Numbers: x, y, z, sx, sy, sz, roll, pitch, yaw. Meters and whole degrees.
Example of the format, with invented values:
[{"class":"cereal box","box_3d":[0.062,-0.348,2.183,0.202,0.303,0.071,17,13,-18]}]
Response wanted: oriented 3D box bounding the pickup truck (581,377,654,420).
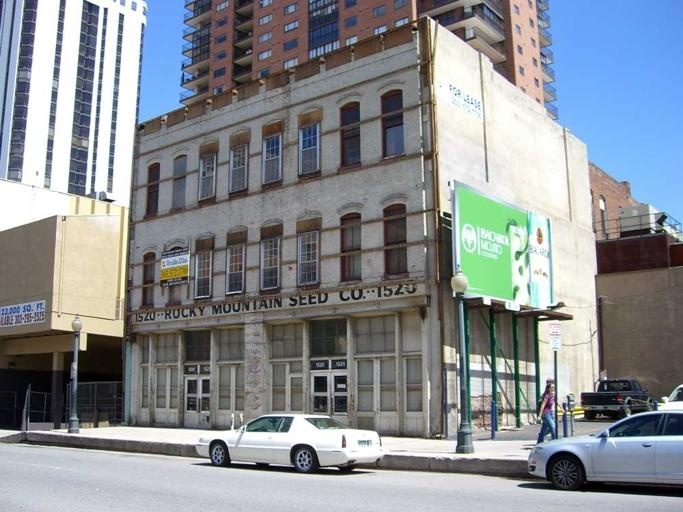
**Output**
[{"class":"pickup truck","box_3d":[13.388,6.803,40.993,1.640,1.237,3.074,-8,-9,43]}]
